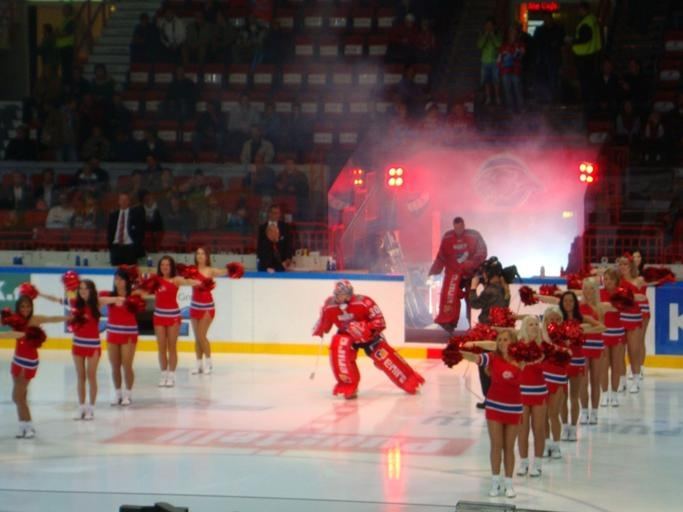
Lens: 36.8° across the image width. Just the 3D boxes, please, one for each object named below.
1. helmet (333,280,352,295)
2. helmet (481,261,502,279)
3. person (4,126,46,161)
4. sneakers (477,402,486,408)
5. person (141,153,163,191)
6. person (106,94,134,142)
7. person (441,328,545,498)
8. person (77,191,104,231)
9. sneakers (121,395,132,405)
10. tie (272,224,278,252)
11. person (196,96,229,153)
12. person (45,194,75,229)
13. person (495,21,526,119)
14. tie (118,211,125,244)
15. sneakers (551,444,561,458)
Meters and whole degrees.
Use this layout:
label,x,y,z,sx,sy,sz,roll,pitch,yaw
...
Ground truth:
label,x,y,z,sx,sy,sz,roll,pitch,yaw
helmet,0.037,0.555,18.297,0.213,0.267,0.284,-12,-15,8
helmet,2.465,0.221,16.749,0.265,0.316,0.231,7,13,2
person,-8.300,-2.964,26.760,0.897,0.897,1.372,-3,10,-17
sneakers,2.388,2.555,17.608,0.124,0.047,0.131,-1,0,12
person,-4.621,-1.959,24.932,0.423,1.339,0.380,10,33,1
person,-5.932,-3.705,27.440,0.709,1.166,1.736,-2,10,-12
person,2.130,2.095,13.957,1.100,2.203,0.698,2,10,15
person,-5.963,-1.047,24.344,0.760,1.194,0.361,-4,-39,-9
sneakers,-3.742,2.497,17.818,0.112,0.122,0.287,-1,-8,-8
tie,-1.378,-0.405,22.020,0.075,0.502,0.162,8,13,41
person,-3.425,-3.445,27.368,0.850,1.400,0.994,1,10,7
person,-6.650,-1.030,24.329,0.650,1.029,0.560,3,-5,-11
person,4.260,-4.682,25.707,0.659,2.159,1.226,1,10,9
tie,-4.923,-0.670,22.981,0.196,0.741,0.104,-2,10,-8
sneakers,3.141,2.872,15.106,0.090,0.189,0.277,0,-7,8
